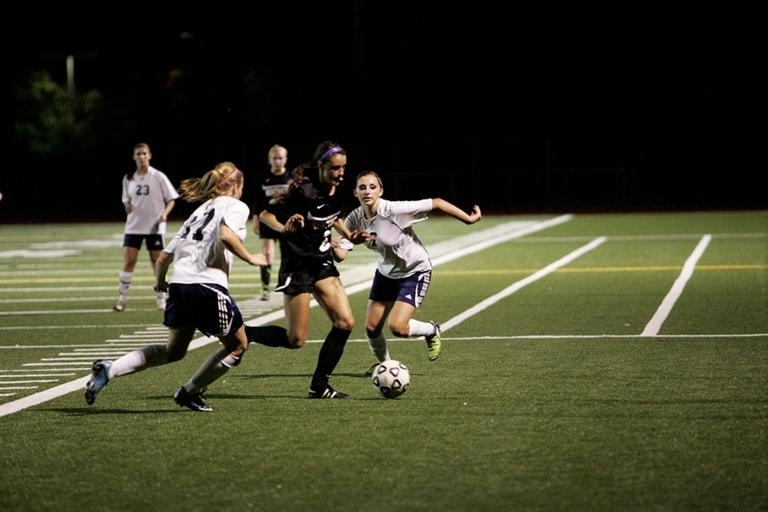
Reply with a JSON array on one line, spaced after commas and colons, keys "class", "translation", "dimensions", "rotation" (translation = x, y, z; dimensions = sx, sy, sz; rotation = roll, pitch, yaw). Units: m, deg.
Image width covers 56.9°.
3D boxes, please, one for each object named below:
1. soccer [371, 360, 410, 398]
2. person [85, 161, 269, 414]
[{"class": "soccer", "translation": [0.106, 1.139, 6.895], "dimensions": [0.363, 0.345, 0.342], "rotation": [0, 14, 15]}, {"class": "person", "translation": [-1.736, 0.327, 6.370], "dimensions": [1.241, 2.210, 0.668], "rotation": [7, 9, -10]}]
